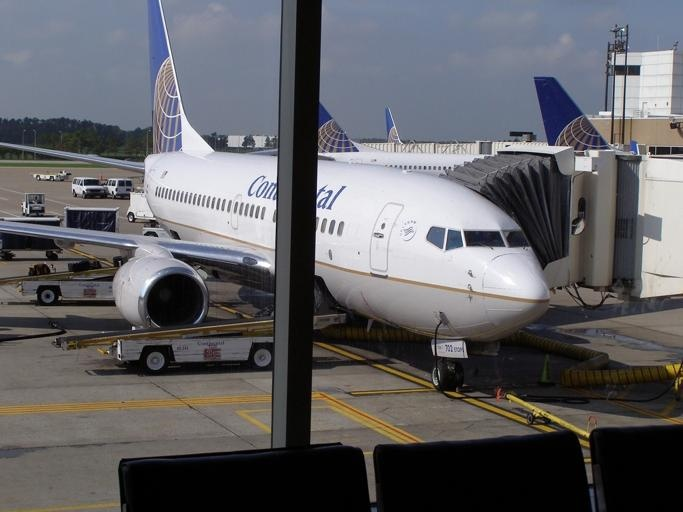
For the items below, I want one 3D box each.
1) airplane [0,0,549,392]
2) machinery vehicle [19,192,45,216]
[{"bbox_3d":[-0.689,-0.243,13.657,4.402,2.198,5.430,-6,16,-33],"label":"airplane"},{"bbox_3d":[-4.324,-0.711,14.870,0.367,0.364,0.615,-1,9,-28],"label":"machinery vehicle"}]
